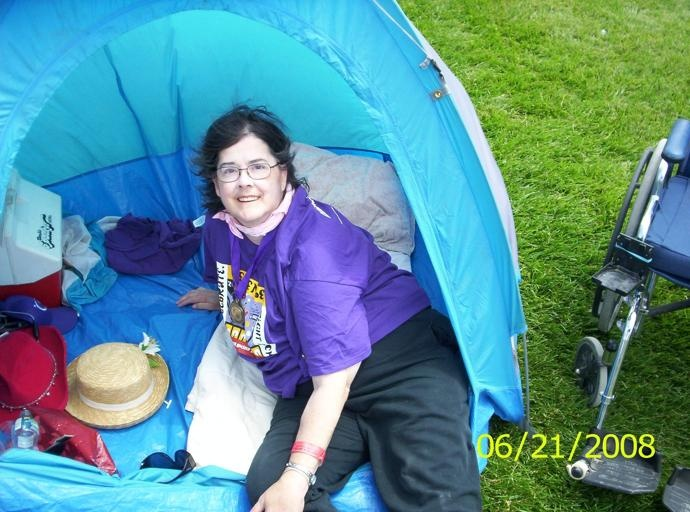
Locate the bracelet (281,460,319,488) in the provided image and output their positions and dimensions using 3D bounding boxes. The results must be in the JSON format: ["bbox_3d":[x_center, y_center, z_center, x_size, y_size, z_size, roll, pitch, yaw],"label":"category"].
[{"bbox_3d":[-0.183,0.871,2.282,0.121,0.049,0.092,31,-8,7],"label":"bracelet"}]

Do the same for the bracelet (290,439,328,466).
[{"bbox_3d":[-0.146,0.761,2.273,0.101,0.042,0.106,22,-11,14],"label":"bracelet"}]
